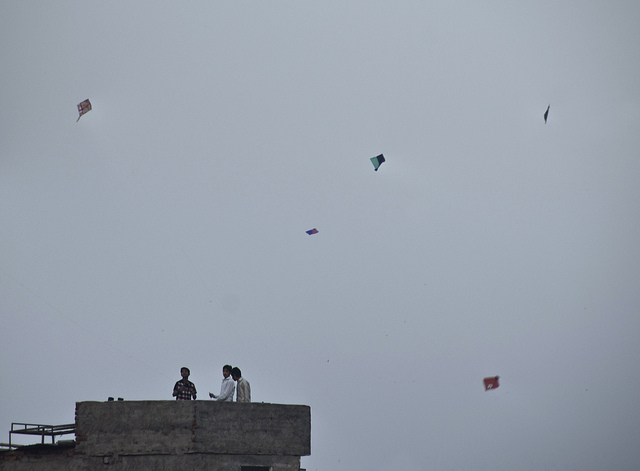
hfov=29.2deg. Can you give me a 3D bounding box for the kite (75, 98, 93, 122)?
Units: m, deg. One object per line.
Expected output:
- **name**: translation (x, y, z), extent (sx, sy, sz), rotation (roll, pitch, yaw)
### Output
- **kite**: translation (-3.689, -1.994, 19.507), extent (0.258, 0.278, 0.144), rotation (-14, -44, 11)

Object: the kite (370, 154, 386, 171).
- **kite**: translation (0.919, -1.145, 19.526), extent (0.194, 0.061, 0.266), rotation (7, -88, 3)
